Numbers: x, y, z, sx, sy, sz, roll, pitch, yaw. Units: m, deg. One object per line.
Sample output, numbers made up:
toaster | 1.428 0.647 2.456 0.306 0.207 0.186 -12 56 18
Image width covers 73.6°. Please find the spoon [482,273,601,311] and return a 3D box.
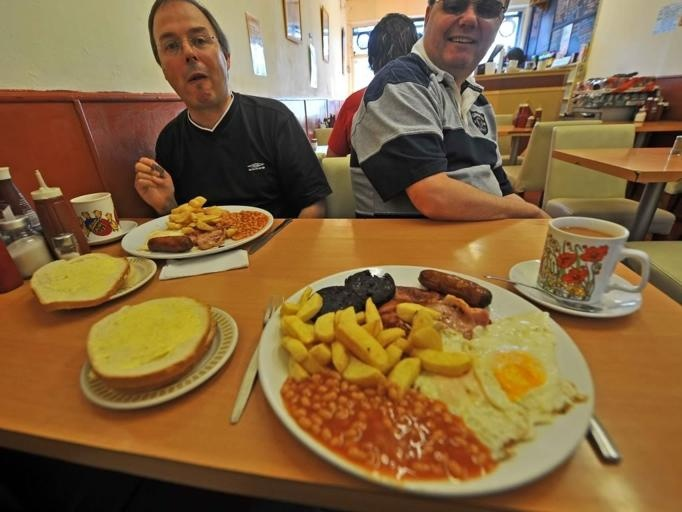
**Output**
spoon | 0.560 0.103 1.243 0.195 0.024 0.033 22 40 32

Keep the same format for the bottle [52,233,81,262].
bottle | -0.886 -0.027 1.472 0.077 0.116 0.077 5 19 -2

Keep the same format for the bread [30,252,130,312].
bread | -0.773 0.075 1.348 0.188 0.050 0.191 -5 30 -31

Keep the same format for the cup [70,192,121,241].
cup | -0.879 -0.144 1.641 0.171 0.165 0.138 13 30 37

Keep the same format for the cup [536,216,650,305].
cup | 0.683 -0.007 1.294 0.190 0.224 0.303 -18 32 -38

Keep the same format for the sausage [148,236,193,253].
sausage | -0.568 -0.039 1.539 0.127 0.054 0.060 2 -2 23

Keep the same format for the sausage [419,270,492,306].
sausage | 0.310 0.085 1.277 0.223 0.071 0.073 20 34 33

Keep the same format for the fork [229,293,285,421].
fork | -0.187 0.234 1.197 0.044 0.049 0.413 -18 37 30

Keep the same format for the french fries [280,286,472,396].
french fries | 0.070 0.219 1.071 0.272 0.072 0.242 20 27 25

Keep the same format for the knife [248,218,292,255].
knife | -0.256 -0.067 1.703 0.046 0.018 0.366 12 26 11
